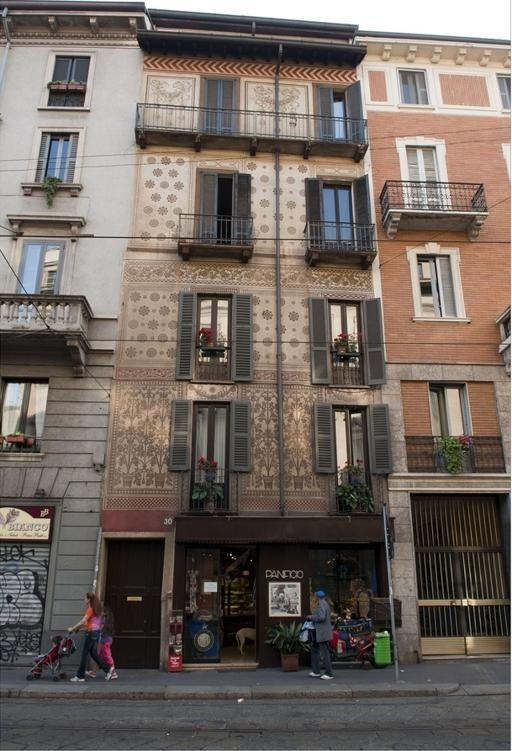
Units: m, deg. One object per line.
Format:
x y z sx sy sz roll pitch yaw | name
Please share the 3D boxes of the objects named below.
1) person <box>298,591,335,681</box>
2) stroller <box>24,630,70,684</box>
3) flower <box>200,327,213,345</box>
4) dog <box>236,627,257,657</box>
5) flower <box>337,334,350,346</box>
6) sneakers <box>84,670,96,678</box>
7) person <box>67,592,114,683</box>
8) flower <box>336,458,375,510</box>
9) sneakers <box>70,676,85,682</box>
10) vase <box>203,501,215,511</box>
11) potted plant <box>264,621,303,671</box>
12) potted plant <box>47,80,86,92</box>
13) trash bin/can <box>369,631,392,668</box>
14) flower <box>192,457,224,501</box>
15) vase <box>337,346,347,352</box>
1.219 5.150 11.924 0.595 1.588 1.608 -2 -20 6 | person
-3.574 4.985 10.529 0.722 0.716 0.562 -6 -28 -3 | stroller
-1.300 -1.015 15.749 0.421 0.504 0.384 0 -5 -4 | flower
-0.246 6.230 13.981 0.433 0.566 0.302 8 -22 -21 | dog
2.344 -0.940 16.196 0.299 0.143 0.299 0 26 -3 | flower
-3.126 5.653 11.347 0.108 0.129 0.296 12 -11 -28 | sneakers
-2.997 4.792 10.952 0.672 1.497 0.956 -2 -20 7 | person
2.425 2.767 14.779 0.891 1.302 0.593 0 -20 1 | flower
-3.196 5.470 10.729 0.286 0.124 0.103 3 -31 5 | sneakers
-1.103 3.105 14.132 0.305 0.292 0.169 1 -8 1 | vase
0.531 5.836 12.930 0.929 0.935 0.922 0 -21 2 | potted plant
-5.671 -8.691 18.046 1.196 0.303 0.368 0 10 -1 | potted plant
2.715 5.907 12.856 0.427 0.707 0.436 -2 -20 6 | trash bin/can
-1.123 2.568 14.363 0.734 0.987 0.388 2 -20 -6 | flower
2.322 -0.684 16.006 0.151 0.111 0.152 -6 -13 42 | vase
